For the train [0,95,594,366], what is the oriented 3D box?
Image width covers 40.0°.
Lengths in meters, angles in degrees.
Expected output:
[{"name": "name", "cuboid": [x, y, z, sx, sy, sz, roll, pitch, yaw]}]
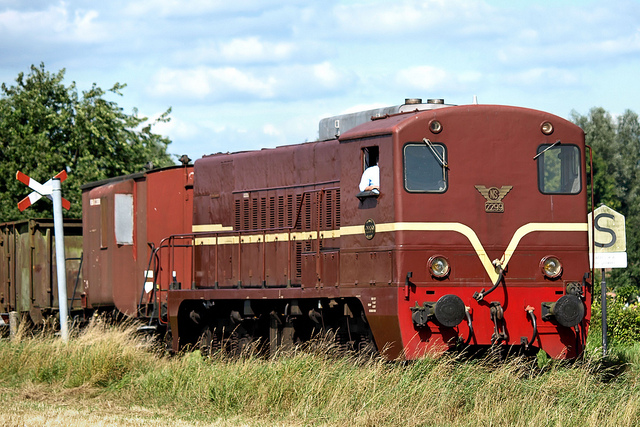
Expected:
[{"name": "train", "cuboid": [-2.558, 0.770, 24.377, 5.854, 6.718, 19.742, 1, -4, -37]}]
